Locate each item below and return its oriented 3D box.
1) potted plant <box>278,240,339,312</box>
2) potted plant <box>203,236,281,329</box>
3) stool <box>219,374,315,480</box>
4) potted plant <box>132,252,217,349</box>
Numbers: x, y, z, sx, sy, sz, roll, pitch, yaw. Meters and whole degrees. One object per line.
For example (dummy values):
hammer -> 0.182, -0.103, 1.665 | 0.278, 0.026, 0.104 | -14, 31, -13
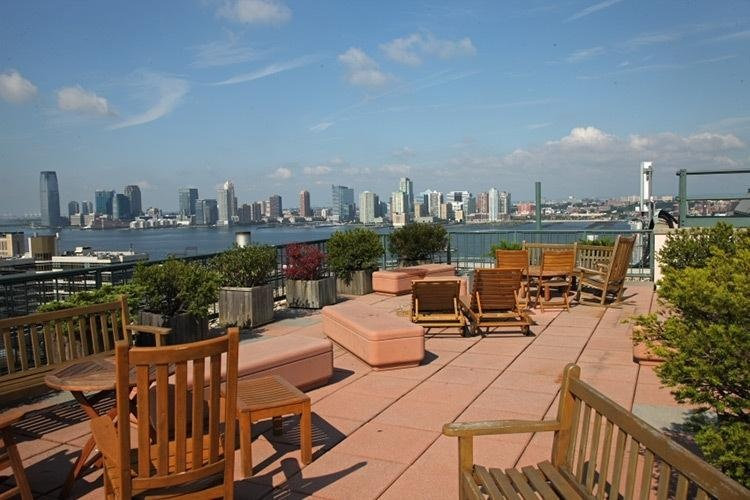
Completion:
potted plant -> -1.190, 0.492, 11.349 | 1.346, 1.631, 1.121 | -1, 1, 13
potted plant -> -2.531, 0.521, 10.203 | 1.484, 1.582, 1.210 | -1, 1, 36
stool -> -1.040, 1.466, 5.504 | 0.728, 0.693, 1.327 | -3, 5, -20
potted plant -> -2.815, 0.695, 8.518 | 1.466, 1.389, 1.105 | 0, -2, 10
